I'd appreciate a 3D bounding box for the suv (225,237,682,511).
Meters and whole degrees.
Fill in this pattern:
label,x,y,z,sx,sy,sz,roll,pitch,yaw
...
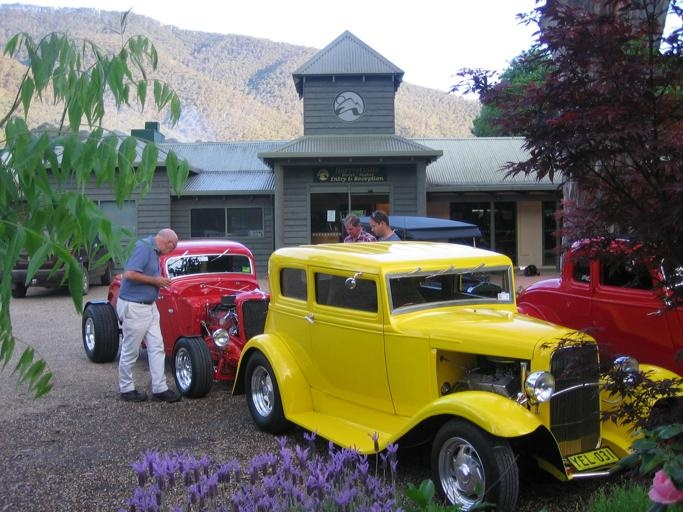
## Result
label,x,y,z,sx,sy,sz,roll,pitch,yaw
suv,0.795,0.999,6.159,1.790,1.977,3.591,-4,11,-45

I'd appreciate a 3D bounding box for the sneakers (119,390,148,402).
label,x,y,z,sx,sy,sz,roll,pitch,yaw
sneakers,-2.405,1.638,7.844,0.317,0.165,0.132,-2,-3,11

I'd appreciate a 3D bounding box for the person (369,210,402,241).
label,x,y,z,sx,sy,sz,roll,pitch,yaw
person,0.570,-0.392,8.922,0.348,0.410,1.281,4,8,3

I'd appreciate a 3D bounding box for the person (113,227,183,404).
label,x,y,z,sx,sy,sz,roll,pitch,yaw
person,-2.273,0.727,7.885,0.681,2.030,1.115,1,7,-18

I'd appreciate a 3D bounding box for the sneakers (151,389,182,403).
label,x,y,z,sx,sy,sz,roll,pitch,yaw
sneakers,-2.042,1.642,7.870,0.321,0.168,0.142,0,0,6
